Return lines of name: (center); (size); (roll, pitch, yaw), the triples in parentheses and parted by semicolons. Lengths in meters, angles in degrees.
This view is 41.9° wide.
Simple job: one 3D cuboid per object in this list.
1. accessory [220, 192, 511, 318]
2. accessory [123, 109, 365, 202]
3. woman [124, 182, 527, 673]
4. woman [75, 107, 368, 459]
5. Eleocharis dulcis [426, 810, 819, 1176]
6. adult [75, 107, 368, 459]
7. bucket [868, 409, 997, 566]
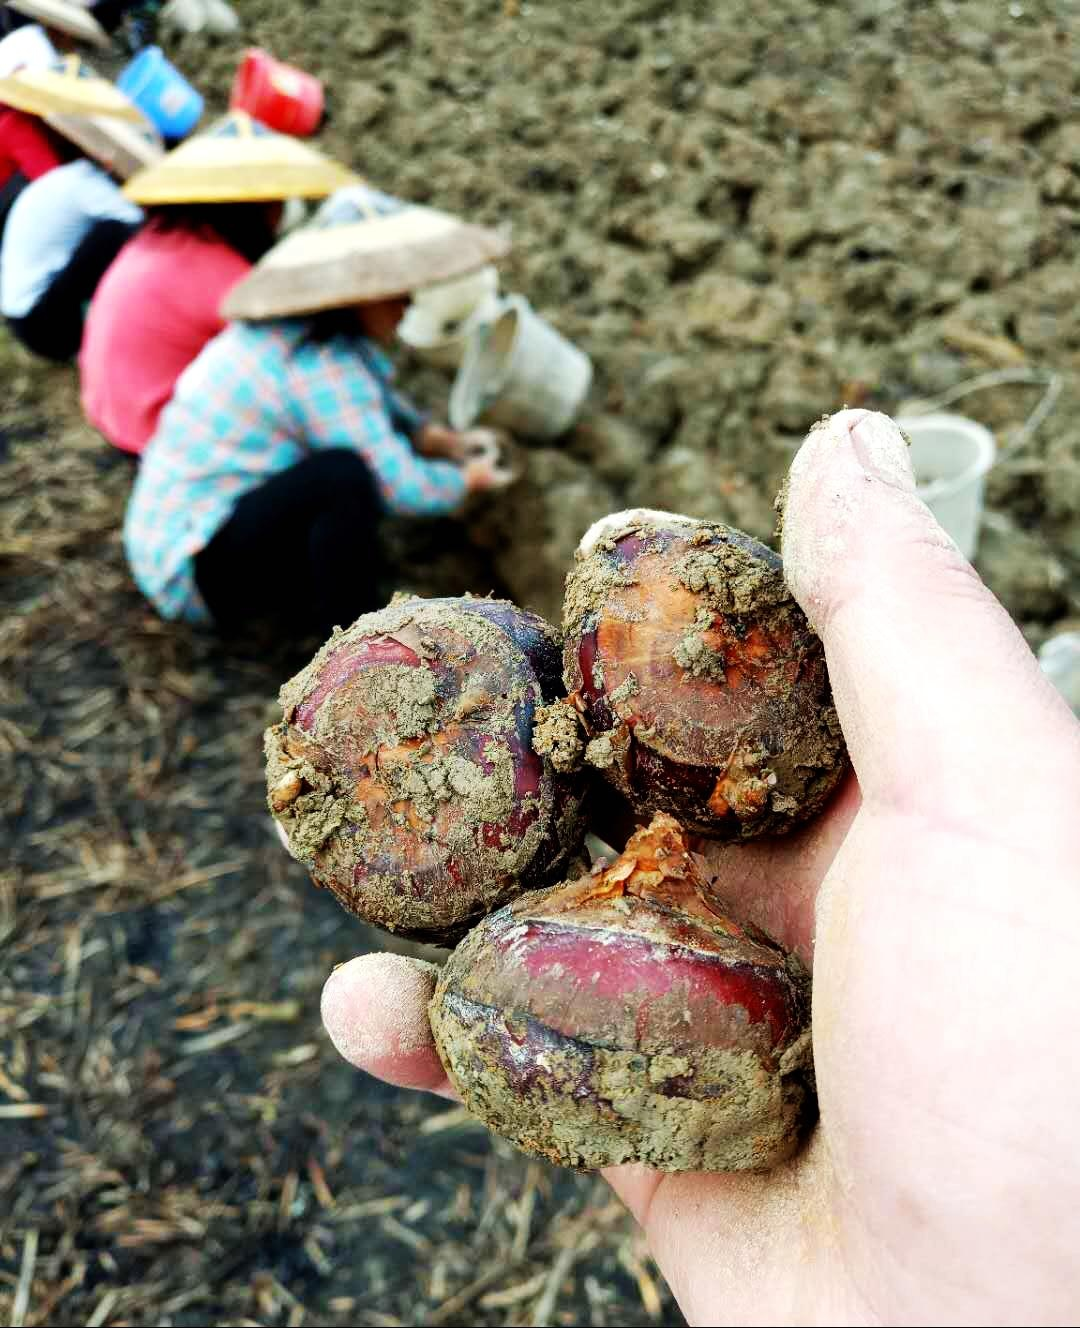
accessory: (-0.402, -0.915, 3.260); (0.669, 0.133, 0.295); (-20, 56, -15)
accessory: (-0.736, -1.201, 3.439); (0.386, 0.120, 0.339); (4, 33, 12)
woman: (-0.578, -0.584, 3.555); (1.110, 1.257, 0.610); (-11, 67, -13)
woman: (-0.834, -0.966, 3.762); (0.730, 0.877, 0.644); (3, 18, -14)
Eleocharis dulcis: (0.195, 0.461, 2.316); (0.713, 0.405, 0.595); (-6, 18, -5)
adult: (-0.805, -0.926, 3.514); (0.554, 0.852, 0.586); (-35, 73, -34)
bucket: (1.057, -0.467, 3.732); (0.286, 0.388, 0.484); (11, 55, 8)
